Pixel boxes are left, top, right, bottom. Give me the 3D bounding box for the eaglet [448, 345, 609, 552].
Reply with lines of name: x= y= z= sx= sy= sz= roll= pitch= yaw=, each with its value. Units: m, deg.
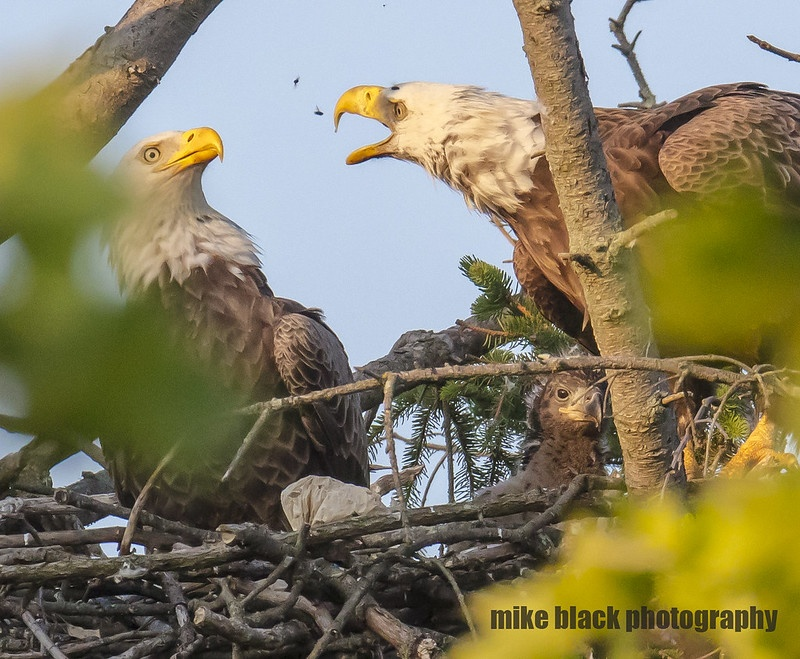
eaglet: x=0.505 y=0.467 z=6.926 sx=0.258 sy=0.671 sz=0.538 roll=40 pitch=-53 yaw=-21
